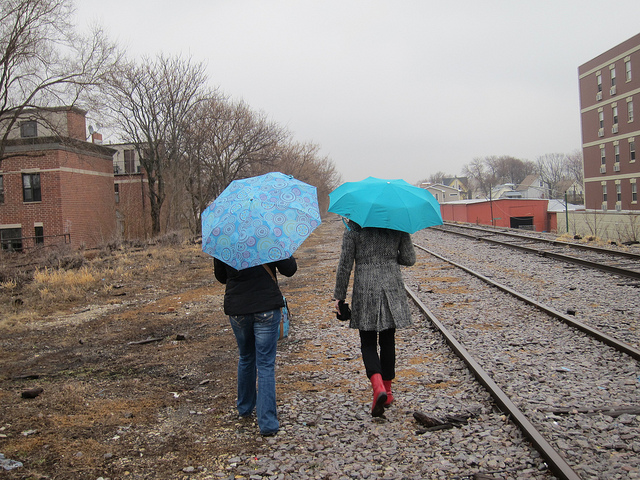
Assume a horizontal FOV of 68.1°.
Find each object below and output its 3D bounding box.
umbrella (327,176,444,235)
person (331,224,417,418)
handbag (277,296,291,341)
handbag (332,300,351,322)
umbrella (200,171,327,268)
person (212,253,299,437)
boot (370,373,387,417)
[{"bbox_3d":[0.849,-0.445,5.758,1.227,0.450,1.342,-4,15,-18],"label":"umbrella"},{"bbox_3d":[0.662,0.956,5.636,0.957,2.297,0.588,-2,7,0],"label":"person"},{"bbox_3d":[-0.433,0.950,5.608,0.133,0.619,0.461,-2,7,-2],"label":"handbag"},{"bbox_3d":[0.271,0.822,5.560,0.187,0.372,0.222,-3,-3,13],"label":"handbag"},{"bbox_3d":[-0.678,-0.230,5.401,1.333,0.966,0.852,-3,8,-8],"label":"umbrella"},{"bbox_3d":[-0.695,1.193,5.479,0.657,1.955,0.509,2,8,31],"label":"person"},{"bbox_3d":[0.682,1.822,5.549,0.191,0.572,0.200,-1,7,6],"label":"boot"}]
